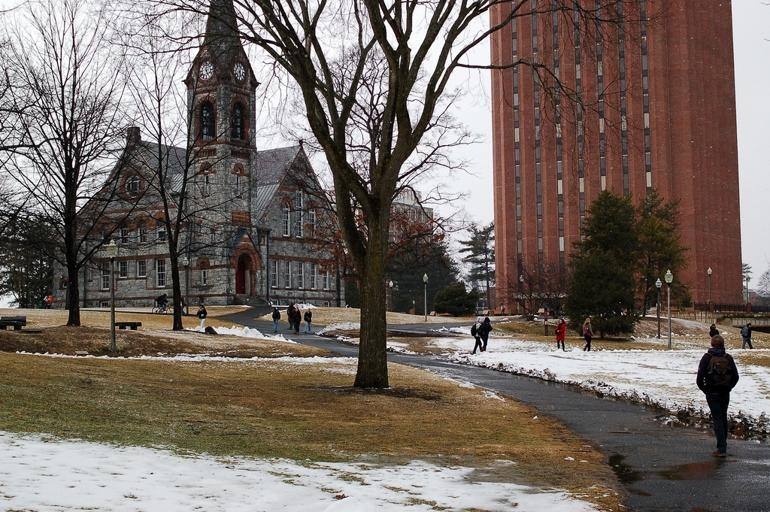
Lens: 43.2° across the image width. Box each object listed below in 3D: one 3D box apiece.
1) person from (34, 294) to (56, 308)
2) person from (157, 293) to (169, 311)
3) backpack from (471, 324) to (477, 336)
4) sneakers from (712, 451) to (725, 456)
[{"bbox_3d":[-34.096,4.459,97.350,1.001,0.977,2.995,-15,3,0],"label":"person"},{"bbox_3d":[-17.584,3.740,76.665,0.874,1.507,2.873,1,-6,-14],"label":"person"},{"bbox_3d":[4.700,3.892,51.071,0.472,0.615,0.190,2,1,-7],"label":"backpack"},{"bbox_3d":[8.888,5.256,25.801,0.284,0.133,0.139,-2,-6,18],"label":"sneakers"}]
